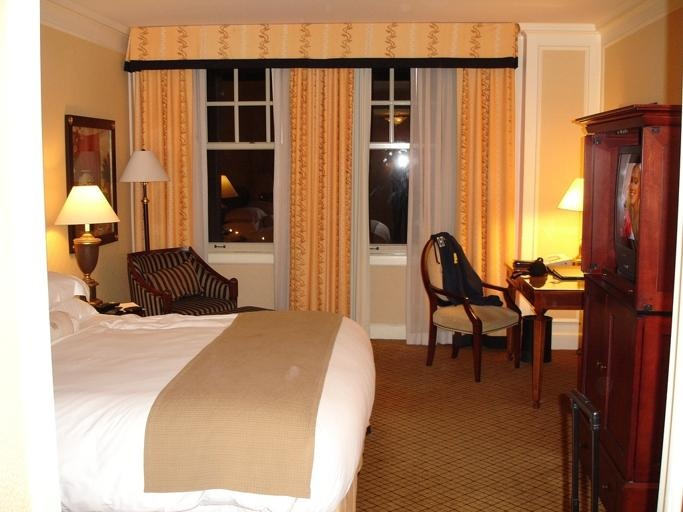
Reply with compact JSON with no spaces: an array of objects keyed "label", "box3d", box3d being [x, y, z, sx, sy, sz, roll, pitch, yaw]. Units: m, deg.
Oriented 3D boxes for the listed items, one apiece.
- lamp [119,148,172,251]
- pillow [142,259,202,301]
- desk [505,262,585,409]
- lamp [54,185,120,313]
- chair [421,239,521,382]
[{"label":"lamp","box3d":[-2.136,-0.594,6.487,0.497,1.114,0.668,-3,11,-16]},{"label":"pillow","box3d":[-1.765,0.247,6.344,0.147,0.346,0.501,-35,-14,38]},{"label":"desk","box3d":[1.816,0.713,5.353,0.667,0.805,1.149,-1,8,0]},{"label":"lamp","box3d":[-2.265,-0.082,5.284,0.665,1.053,0.648,-3,1,-30]},{"label":"chair","box3d":[1.273,0.478,5.947,0.862,1.294,0.798,4,6,42]}]
